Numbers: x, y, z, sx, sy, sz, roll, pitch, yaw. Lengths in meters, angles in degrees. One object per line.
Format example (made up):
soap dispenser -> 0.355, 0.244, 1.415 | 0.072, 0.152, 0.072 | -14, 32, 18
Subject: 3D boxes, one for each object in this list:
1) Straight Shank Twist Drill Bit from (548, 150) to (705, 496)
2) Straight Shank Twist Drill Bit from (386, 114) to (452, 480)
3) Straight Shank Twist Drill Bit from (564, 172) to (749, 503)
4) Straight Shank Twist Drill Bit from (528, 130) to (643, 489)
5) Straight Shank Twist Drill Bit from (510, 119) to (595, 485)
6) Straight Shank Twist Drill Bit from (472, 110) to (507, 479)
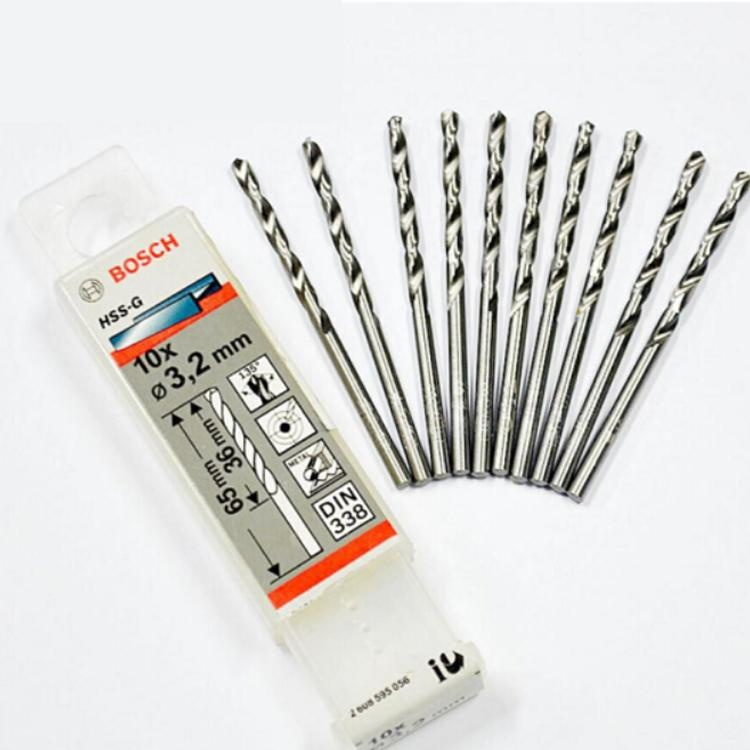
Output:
Straight Shank Twist Drill Bit -> 0.452, -0.069, 1.560 | 0.057, 0.645, 0.073 | 19, -7, -3
Straight Shank Twist Drill Bit -> 0.080, -0.127, 1.575 | 0.061, 0.790, 0.095 | -3, -15, -12
Straight Shank Twist Drill Bit -> 0.504, -0.044, 1.553 | 0.056, 0.619, 0.088 | 23, 4, -45
Straight Shank Twist Drill Bit -> 0.378, -0.093, 1.567 | 0.050, 0.648, 0.074 | 11, -6, 4
Straight Shank Twist Drill Bit -> 0.321, -0.106, 1.571 | 0.055, 0.669, 0.097 | 10, 0, -23
Straight Shank Twist Drill Bit -> 0.204, -0.124, 1.567 | 0.051, 0.821, 0.058 | 4, -13, -4
